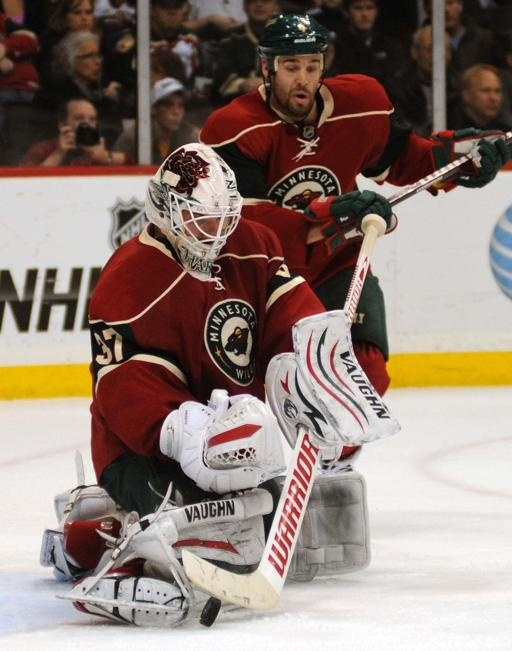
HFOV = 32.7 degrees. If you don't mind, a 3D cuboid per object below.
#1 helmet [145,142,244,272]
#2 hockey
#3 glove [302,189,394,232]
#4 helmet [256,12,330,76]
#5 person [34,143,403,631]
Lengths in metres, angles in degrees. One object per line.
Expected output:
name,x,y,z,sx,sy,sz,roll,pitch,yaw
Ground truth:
helmet,-0.102,-0.237,1.763,0.217,0.230,0.243,1,22,-21
hockey,0.060,0.147,1.676,0.286,0.083,0.751,24,62,-15
glove,0.231,-0.288,2.212,0.191,0.061,0.115,2,2,24
helmet,0.098,-0.785,2.449,0.193,0.143,0.228,-18,27,-36
person,-0.111,0.119,1.736,0.634,0.855,0.842,-17,24,-37
